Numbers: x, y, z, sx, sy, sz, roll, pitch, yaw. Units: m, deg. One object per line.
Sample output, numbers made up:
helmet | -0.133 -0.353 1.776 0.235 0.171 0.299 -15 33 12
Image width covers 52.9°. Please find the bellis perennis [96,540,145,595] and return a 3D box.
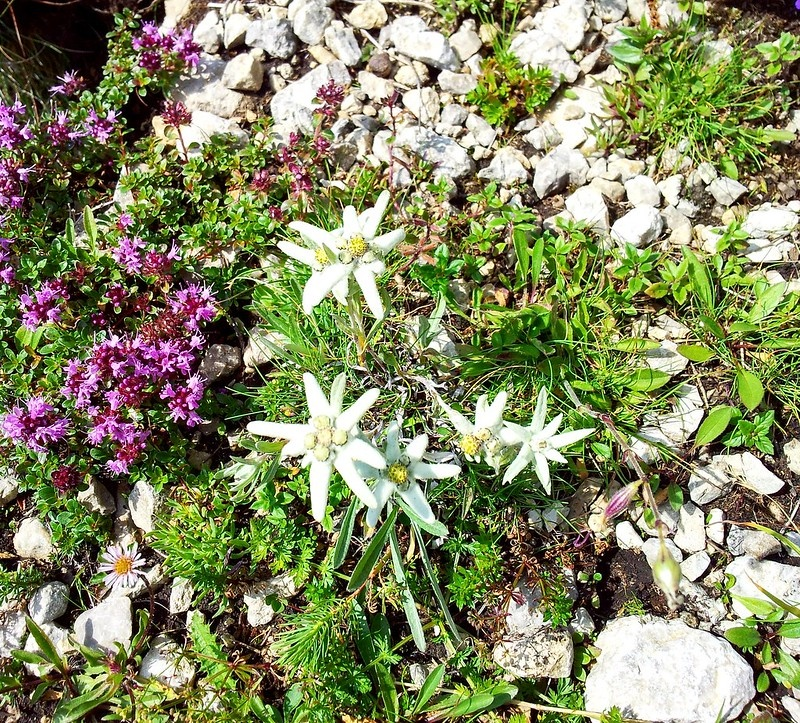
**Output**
bellis perennis | -1.461 1.066 4.225 0.231 0.081 0.249 17 26 16

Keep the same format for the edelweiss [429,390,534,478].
edelweiss | 0.386 0.403 3.562 0.454 0.506 0.184 -26 88 -2

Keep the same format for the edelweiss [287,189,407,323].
edelweiss | -0.207 -0.413 3.523 0.519 0.240 0.520 44 84 7

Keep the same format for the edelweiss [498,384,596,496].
edelweiss | 0.625 0.326 3.621 0.437 0.124 0.466 40 86 -10
